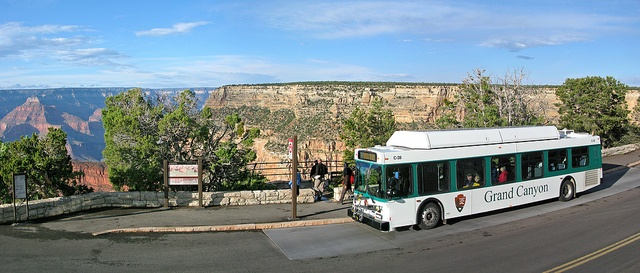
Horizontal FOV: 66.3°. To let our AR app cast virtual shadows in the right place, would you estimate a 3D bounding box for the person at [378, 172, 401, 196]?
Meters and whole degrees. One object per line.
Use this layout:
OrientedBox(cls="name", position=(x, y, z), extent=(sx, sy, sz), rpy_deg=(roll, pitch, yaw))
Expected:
OrientedBox(cls="person", position=(6.232, 4.133, 42.436), extent=(1.454, 2.229, 0.451), rpy_deg=(-3, 5, -1))
